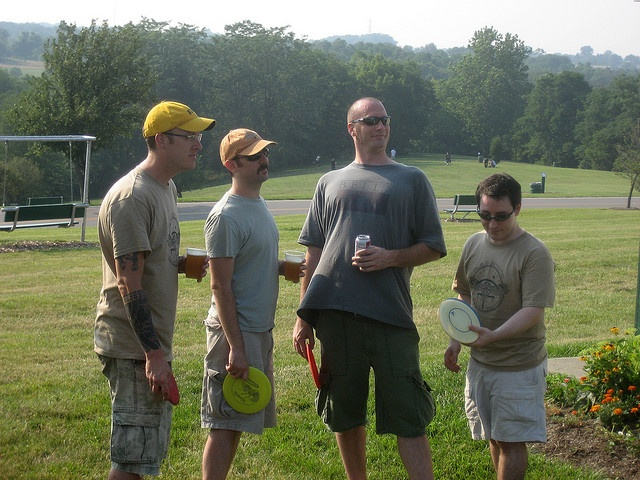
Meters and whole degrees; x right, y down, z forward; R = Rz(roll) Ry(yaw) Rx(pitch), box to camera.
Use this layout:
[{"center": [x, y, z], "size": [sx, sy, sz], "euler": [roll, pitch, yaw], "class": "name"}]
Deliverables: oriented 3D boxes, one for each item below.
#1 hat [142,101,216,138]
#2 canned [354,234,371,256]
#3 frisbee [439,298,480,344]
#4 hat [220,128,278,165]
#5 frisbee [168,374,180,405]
[{"center": [-1.183, -0.992, 5.887], "size": [0.465, 0.240, 0.301], "euler": [-4, 17, -9], "class": "hat"}, {"center": [0.350, 0.040, 5.854], "size": [0.112, 0.152, 0.091], "euler": [2, 6, 0], "class": "canned"}, {"center": [1.145, 0.708, 6.030], "size": [0.348, 0.357, 0.049], "euler": [-30, -8, -27], "class": "frisbee"}, {"center": [-0.678, -0.767, 6.265], "size": [0.421, 0.258, 0.304], "euler": [-22, 4, 19], "class": "hat"}, {"center": [-1.131, 1.166, 5.556], "size": [0.072, 0.275, 0.183], "euler": [0, 6, -12], "class": "frisbee"}]
